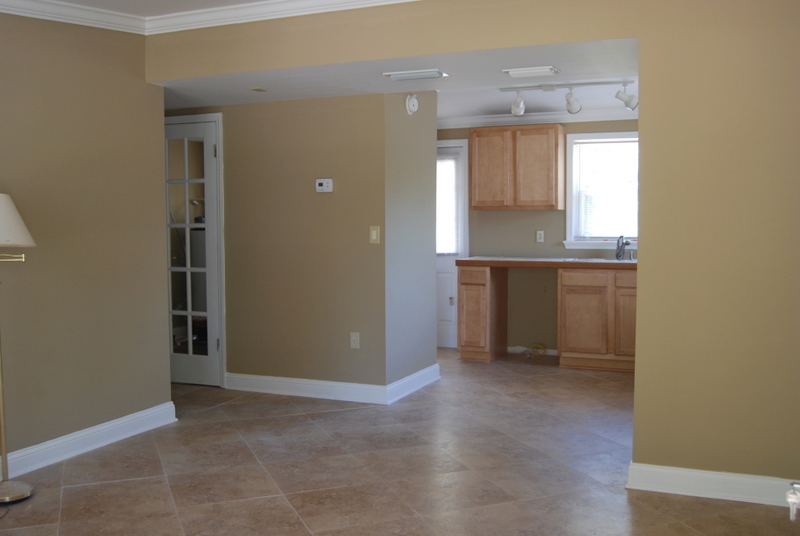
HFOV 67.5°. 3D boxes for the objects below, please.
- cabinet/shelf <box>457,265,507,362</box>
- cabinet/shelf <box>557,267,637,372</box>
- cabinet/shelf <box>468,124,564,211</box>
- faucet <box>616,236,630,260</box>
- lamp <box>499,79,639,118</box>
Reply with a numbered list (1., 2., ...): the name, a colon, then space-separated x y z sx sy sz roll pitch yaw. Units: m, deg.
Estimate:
1. cabinet/shelf: 1.032 0.497 7.065 0.740 1.122 0.359 -7 11 -42
2. cabinet/shelf: 2.143 0.522 6.409 1.051 1.022 0.527 -1 -6 19
3. cabinet/shelf: 1.403 -1.201 7.022 1.029 0.859 0.364 0 0 20
4. faucet: 2.548 -0.238 6.833 0.166 0.245 0.190 1 8 10
5. lamp: 1.649 -1.646 5.833 1.221 0.295 0.266 0 12 14
